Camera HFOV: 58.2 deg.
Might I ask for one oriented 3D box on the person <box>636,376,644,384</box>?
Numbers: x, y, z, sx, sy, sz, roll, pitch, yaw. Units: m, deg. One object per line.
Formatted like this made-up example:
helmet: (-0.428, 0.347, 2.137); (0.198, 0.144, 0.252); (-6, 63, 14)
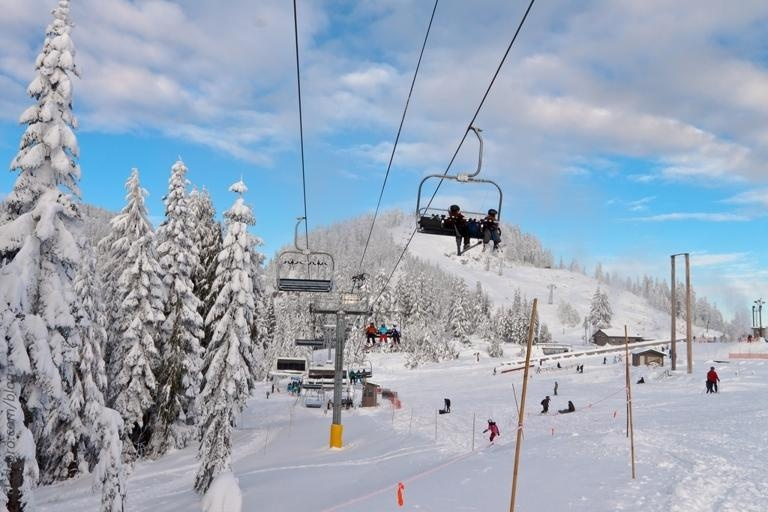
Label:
person: (23.012, 11.152, 61.939); (0.714, 0.528, 1.381); (-3, -10, 19)

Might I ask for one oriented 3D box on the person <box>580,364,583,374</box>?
person: (21.718, 12.397, 75.722); (0.370, 0.821, 1.716); (-2, -10, 14)

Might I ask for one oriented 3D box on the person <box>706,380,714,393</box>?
person: (25.291, 10.129, 53.499); (0.430, 0.868, 0.970); (-4, -10, 24)

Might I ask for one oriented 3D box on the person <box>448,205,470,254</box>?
person: (3.810, -1.331, 35.264); (1.012, 2.538, 1.295); (-4, -10, 25)

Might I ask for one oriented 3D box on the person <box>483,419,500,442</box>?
person: (7.672, 12.568, 49.501); (1.080, 1.789, 0.809); (-13, -28, 20)

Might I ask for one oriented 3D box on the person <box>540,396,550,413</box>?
person: (12.775, 11.798, 54.826); (0.563, 1.256, 3.791); (-2, -10, 13)

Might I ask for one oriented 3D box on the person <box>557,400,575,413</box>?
person: (14.263, 11.806, 53.351); (1.302, 0.758, 0.945); (-10, -4, -4)
